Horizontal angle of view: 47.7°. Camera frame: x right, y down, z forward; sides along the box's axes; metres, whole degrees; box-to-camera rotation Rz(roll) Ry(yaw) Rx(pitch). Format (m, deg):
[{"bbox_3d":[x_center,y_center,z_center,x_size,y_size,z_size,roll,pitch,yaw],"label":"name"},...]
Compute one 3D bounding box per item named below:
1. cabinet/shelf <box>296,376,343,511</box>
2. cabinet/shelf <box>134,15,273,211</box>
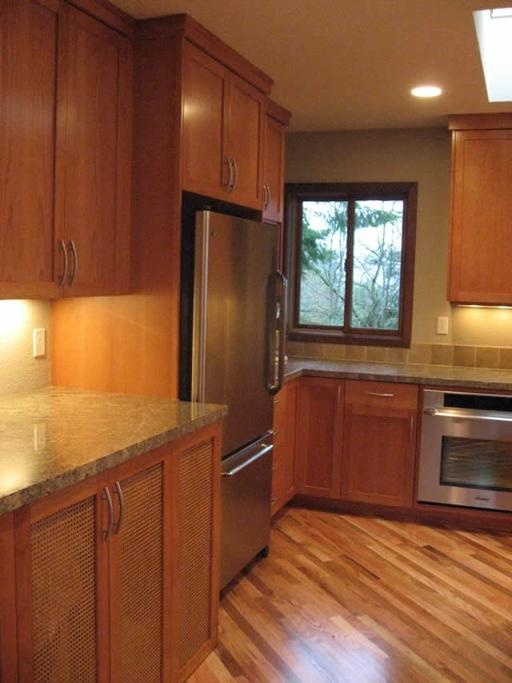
[{"bbox_3d":[0.385,0.585,3.511,0.279,0.731,0.091,2,2,8],"label":"cabinet/shelf"},{"bbox_3d":[-0.213,-0.870,2.179,0.126,0.481,0.715,1,7,17],"label":"cabinet/shelf"}]
